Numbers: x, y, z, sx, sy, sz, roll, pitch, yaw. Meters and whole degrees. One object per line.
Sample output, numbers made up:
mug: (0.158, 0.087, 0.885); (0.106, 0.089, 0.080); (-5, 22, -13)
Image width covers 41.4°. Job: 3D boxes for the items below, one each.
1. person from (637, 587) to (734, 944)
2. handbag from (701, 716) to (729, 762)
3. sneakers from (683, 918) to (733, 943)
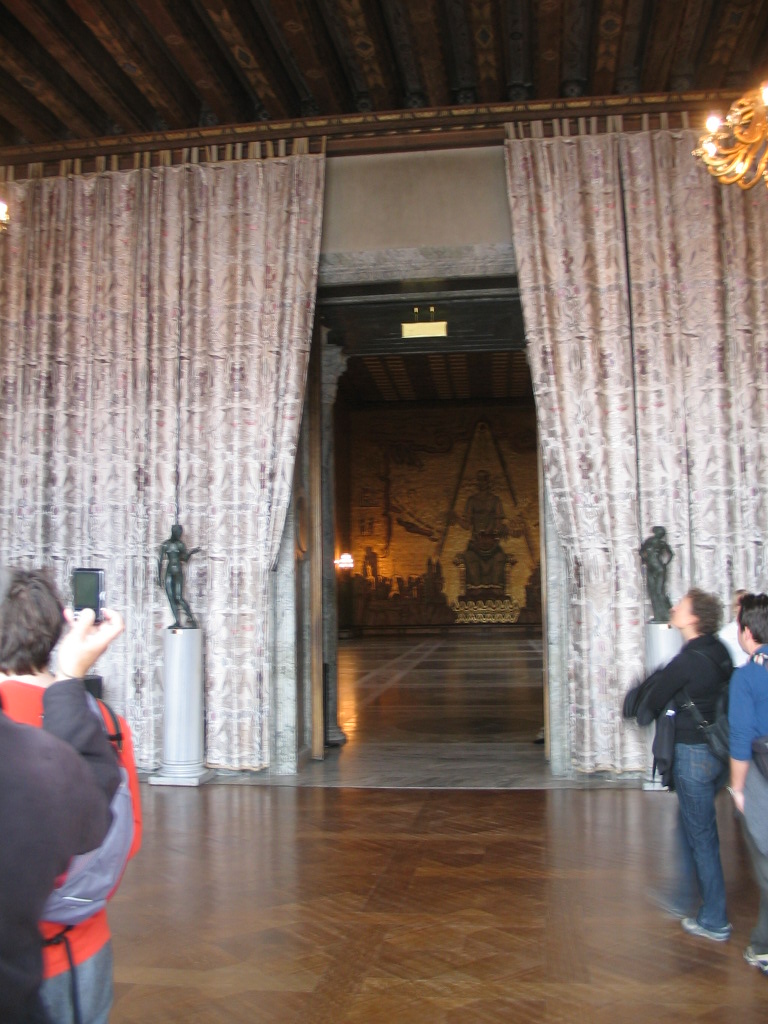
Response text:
person: (1.008, 0.873, 3.480); (0.360, 1.191, 0.343); (-2, -4, 14)
handbag: (1.111, 0.757, 3.403); (0.045, 0.108, 0.122); (-9, -13, 30)
sneakers: (1.119, 1.447, 3.544); (0.151, 0.054, 0.055); (9, -17, 40)
